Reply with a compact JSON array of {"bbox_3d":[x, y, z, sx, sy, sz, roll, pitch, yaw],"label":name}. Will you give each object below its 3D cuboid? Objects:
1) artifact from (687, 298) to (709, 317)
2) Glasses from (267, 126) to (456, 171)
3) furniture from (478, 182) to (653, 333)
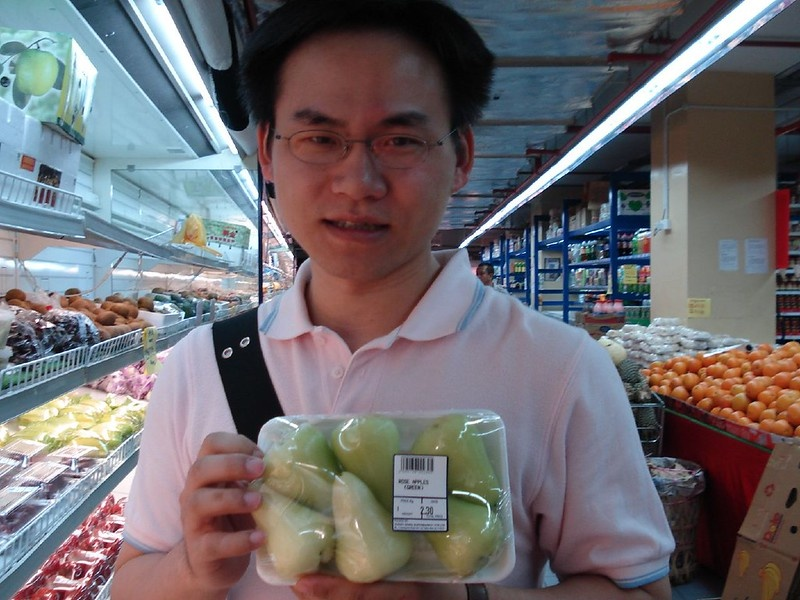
[{"bbox_3d":[2.862,0.085,4.849,0.182,0.184,0.045,1,3,0],"label":"artifact"},{"bbox_3d":[-0.079,-0.333,1.144,0.344,0.086,0.047,0,-1,1],"label":"Glasses"},{"bbox_3d":[3.066,-0.681,8.857,1.336,0.606,3.903,-14,-17,12],"label":"furniture"}]
